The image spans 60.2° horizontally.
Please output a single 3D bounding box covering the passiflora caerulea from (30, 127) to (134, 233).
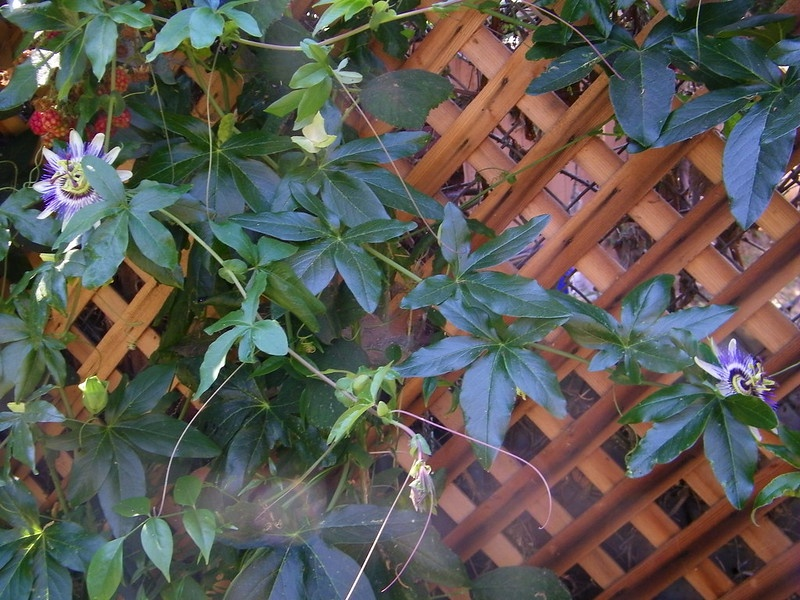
[{"bbox_3d":[-0.646,-0.222,1.471,0.209,0.208,0.102,42,-1,25],"label":"passiflora caerulea"}]
